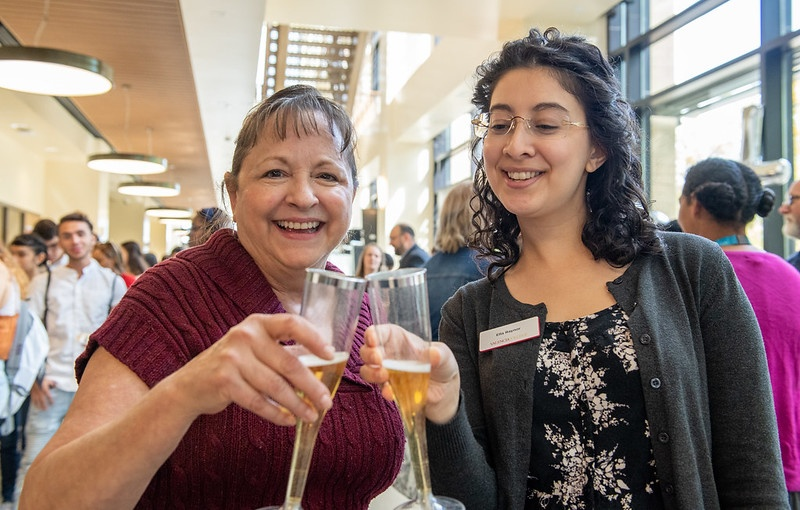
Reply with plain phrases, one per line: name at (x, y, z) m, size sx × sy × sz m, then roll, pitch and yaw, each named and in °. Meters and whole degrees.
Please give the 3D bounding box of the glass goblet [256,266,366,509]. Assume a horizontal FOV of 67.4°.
glass goblet at (-0.230, 0.357, 1.605) m, size 0.158 × 0.624 × 0.292 m, roll 7°, pitch -12°, yaw -44°

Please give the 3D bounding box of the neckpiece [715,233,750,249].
neckpiece at (1.736, -0.076, 3.134) m, size 0.150 × 0.039 × 0.149 m, roll -5°, pitch -2°, yaw -6°
